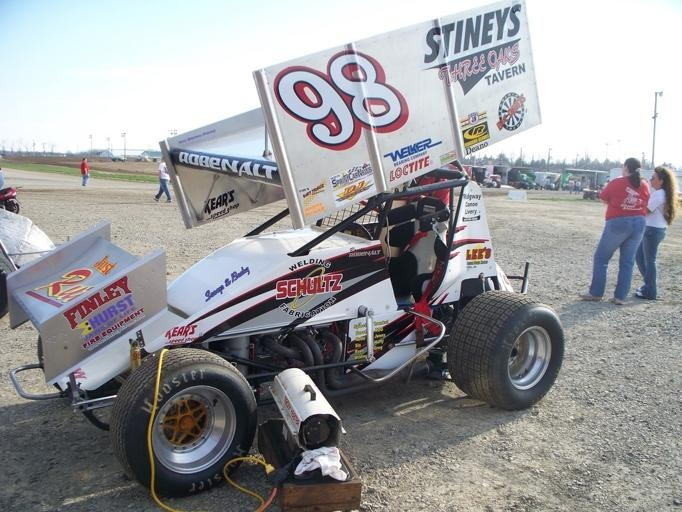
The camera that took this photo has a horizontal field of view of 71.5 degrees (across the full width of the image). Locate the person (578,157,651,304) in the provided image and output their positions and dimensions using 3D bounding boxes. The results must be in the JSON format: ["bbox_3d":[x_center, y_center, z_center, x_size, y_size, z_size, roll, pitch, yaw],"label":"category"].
[{"bbox_3d":[4.473,-0.409,7.656,0.709,2.295,0.662,9,15,32],"label":"person"}]

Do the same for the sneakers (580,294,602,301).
[{"bbox_3d":[4.136,0.664,7.822,0.321,0.133,0.123,-7,11,8],"label":"sneakers"}]

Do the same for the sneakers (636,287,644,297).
[{"bbox_3d":[5.101,0.614,8.085,0.091,0.106,0.161,17,35,39],"label":"sneakers"}]

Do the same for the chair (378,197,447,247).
[{"bbox_3d":[0.761,-0.356,4.990,0.587,0.487,0.419,-7,23,-16],"label":"chair"}]
